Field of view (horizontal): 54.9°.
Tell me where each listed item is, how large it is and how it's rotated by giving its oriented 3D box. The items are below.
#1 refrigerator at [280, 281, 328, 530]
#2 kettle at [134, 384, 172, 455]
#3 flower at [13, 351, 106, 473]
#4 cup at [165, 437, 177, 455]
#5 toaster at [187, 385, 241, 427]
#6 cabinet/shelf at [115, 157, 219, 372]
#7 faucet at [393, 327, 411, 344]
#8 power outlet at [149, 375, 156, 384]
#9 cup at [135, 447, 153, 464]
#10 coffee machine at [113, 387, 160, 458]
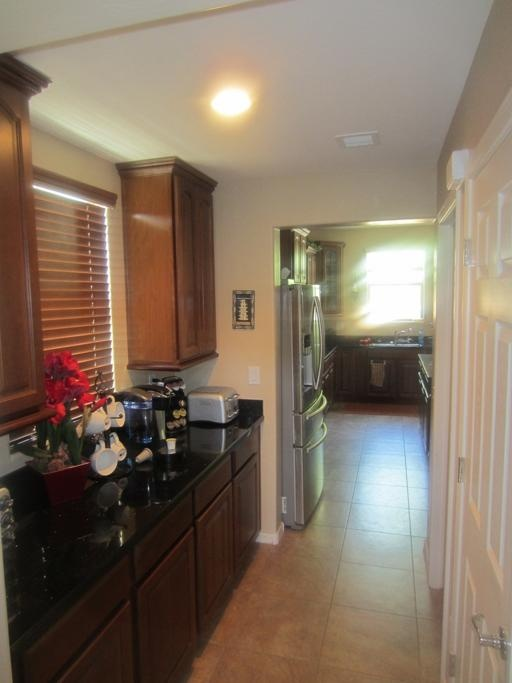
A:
[{"bbox_3d":[0.333,0.440,3.436,0.165,1.665,0.599,2,5,24],"label":"refrigerator"},{"bbox_3d":[-0.545,0.368,2.509,0.210,0.276,0.137,7,21,31],"label":"kettle"},{"bbox_3d":[-0.649,0.248,1.790,0.231,0.417,0.292,11,25,23],"label":"flower"},{"bbox_3d":[-0.375,0.473,2.195,0.050,0.062,0.054,-2,1,0],"label":"cup"},{"bbox_3d":[-0.254,0.374,2.887,0.238,0.199,0.229,1,5,20],"label":"toaster"},{"bbox_3d":[-0.479,-0.408,2.762,0.343,1.074,0.591,1,5,15],"label":"cabinet/shelf"},{"bbox_3d":[2.188,-0.086,7.371,0.319,0.359,0.188,2,8,20],"label":"faucet"},{"bbox_3d":[-0.574,0.215,2.717,0.021,0.047,0.041,-5,7,-41],"label":"power outlet"},{"bbox_3d":[-0.488,0.508,2.150,0.048,0.061,0.058,-14,8,42],"label":"cup"},{"bbox_3d":[-0.603,0.448,2.509,0.243,0.381,0.232,-16,-10,34],"label":"coffee machine"}]
